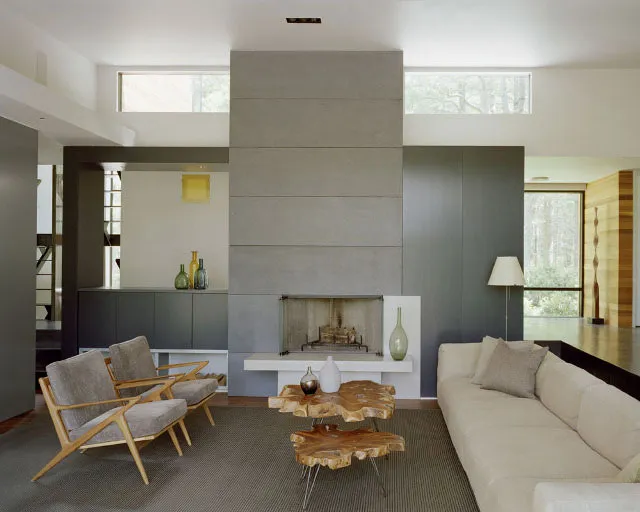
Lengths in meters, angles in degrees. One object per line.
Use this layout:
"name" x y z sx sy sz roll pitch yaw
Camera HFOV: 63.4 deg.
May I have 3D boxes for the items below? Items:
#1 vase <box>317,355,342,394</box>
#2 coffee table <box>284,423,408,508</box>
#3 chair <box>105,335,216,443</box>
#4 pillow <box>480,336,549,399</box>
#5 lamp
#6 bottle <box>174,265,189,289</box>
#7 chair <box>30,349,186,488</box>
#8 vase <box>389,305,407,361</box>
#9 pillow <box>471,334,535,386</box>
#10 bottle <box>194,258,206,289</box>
"vase" 0.090 1.093 4.849 0.206 0.324 0.217 -1 6 -17
"coffee table" 0.190 1.706 4.348 0.862 0.465 0.727 -2 7 -16
"chair" -1.661 1.385 5.443 0.972 0.991 0.833 -2 -1 7
"pillow" 1.924 1.084 5.111 0.154 0.503 0.497 31 -13 -28
"lamp" 2.228 0.514 6.236 0.413 1.043 0.458 2 7 19
"bottle" -1.951 0.273 7.276 0.188 0.330 0.376 -2 7 -14
"chair" -1.962 1.411 4.816 1.366 1.083 1.418 -2 -3 -35
"vase" 0.948 0.931 6.242 0.210 0.600 0.381 2 7 14
"pillow" 1.883 1.107 5.507 0.150 0.514 0.510 24 -18 -20
"bottle" -1.707 0.248 7.314 0.154 0.389 0.486 -2 7 -15
